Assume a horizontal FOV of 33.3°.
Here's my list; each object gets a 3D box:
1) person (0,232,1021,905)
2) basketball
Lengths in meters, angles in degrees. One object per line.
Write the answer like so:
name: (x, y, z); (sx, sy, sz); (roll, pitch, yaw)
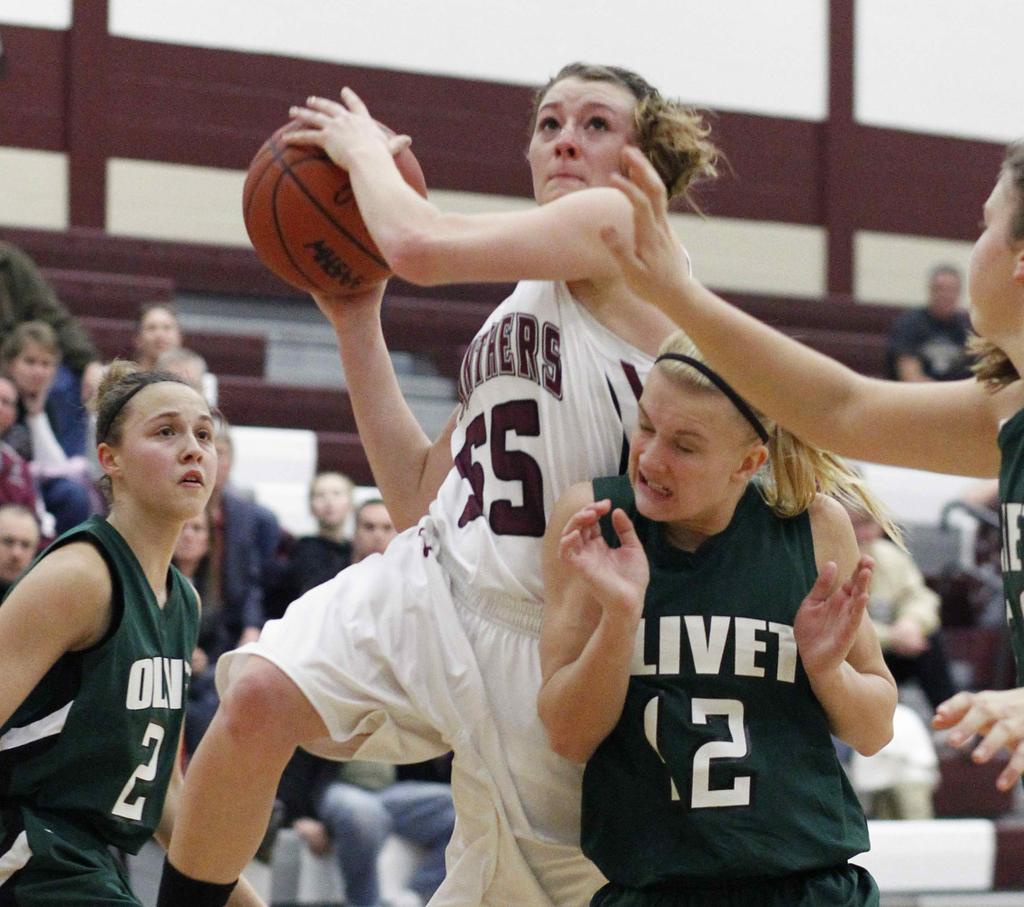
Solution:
person: (-0.034, 0.334, 4.191); (2.652, 1.590, 0.844); (-1, 0, -32)
basketball: (-0.399, -0.465, 3.849); (0.373, 0.367, 0.361); (31, 1, 18)
